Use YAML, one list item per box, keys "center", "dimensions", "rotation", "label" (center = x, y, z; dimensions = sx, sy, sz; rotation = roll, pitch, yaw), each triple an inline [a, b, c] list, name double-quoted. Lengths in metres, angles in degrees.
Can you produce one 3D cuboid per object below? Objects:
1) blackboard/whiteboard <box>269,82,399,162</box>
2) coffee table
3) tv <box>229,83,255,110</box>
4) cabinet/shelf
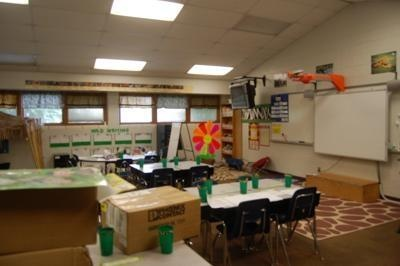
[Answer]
- center: [3.487, -0.276, 7.023]
  dimensions: [0.193, 1.383, 2.459]
  rotation: [-2, 4, -34]
  label: "blackboard/whiteboard"
- center: [-2.502, 0.798, 7.462]
  dimensions: [1.233, 0.293, 1.264]
  rotation: [2, 0, -32]
  label: "coffee table"
- center: [1.403, -1.220, 8.905]
  dimensions: [0.553, 0.868, 0.954]
  rotation: [-9, 7, -36]
  label: "tv"
- center: [1.197, -0.021, 10.484]
  dimensions: [0.539, 1.947, 1.303]
  rotation: [-2, 13, -15]
  label: "cabinet/shelf"
